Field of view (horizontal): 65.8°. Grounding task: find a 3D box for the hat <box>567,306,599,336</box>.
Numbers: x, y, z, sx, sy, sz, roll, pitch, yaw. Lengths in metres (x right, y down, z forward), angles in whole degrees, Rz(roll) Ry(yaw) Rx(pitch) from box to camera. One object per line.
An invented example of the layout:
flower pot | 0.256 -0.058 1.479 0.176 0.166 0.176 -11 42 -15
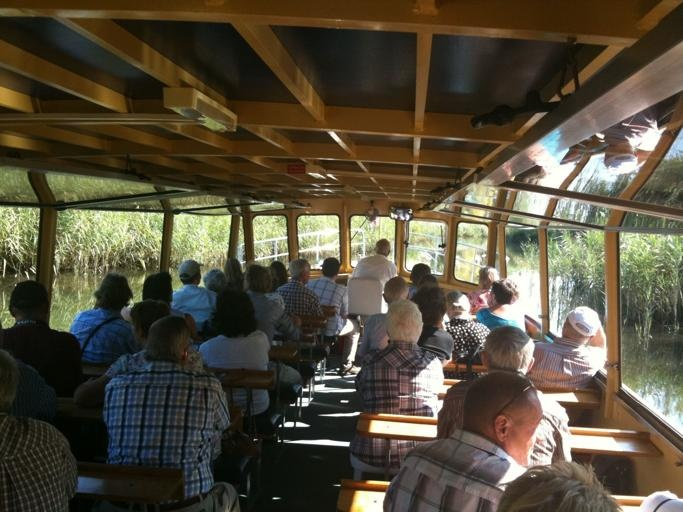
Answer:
hat | 2.145 0.593 4.706 0.242 0.263 0.126 1 0 20

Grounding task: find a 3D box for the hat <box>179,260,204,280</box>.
hat | -1.870 0.164 6.551 0.213 0.143 0.270 -1 22 4

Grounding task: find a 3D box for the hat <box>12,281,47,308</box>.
hat | -2.460 0.303 4.173 0.213 0.205 0.209 1 0 29

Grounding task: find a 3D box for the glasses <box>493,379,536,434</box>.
glasses | 0.761 0.652 2.329 0.220 0.237 0.105 1 0 1
